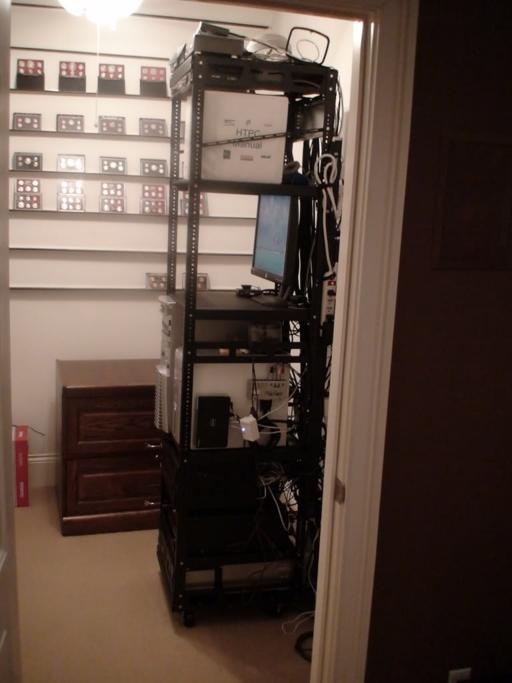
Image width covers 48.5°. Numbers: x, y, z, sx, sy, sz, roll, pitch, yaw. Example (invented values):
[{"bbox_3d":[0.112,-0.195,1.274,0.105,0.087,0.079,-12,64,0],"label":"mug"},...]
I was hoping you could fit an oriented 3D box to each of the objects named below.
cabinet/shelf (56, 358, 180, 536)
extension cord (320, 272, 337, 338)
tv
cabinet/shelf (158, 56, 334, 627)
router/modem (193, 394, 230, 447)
[{"bbox_3d":[-0.751,0.524,3.159,0.588,1.132,0.684,0,2,-11],"label":"cabinet/shelf"},{"bbox_3d":[0.272,-0.120,2.097,0.044,0.277,0.078,5,20,11],"label":"extension cord"},{"bbox_3d":[0.069,-0.407,2.223,0.031,0.351,0.387,3,11,-20],"label":"tv"},{"bbox_3d":[-0.023,0.018,2.213,0.722,2.161,0.594,0,5,-12],"label":"cabinet/shelf"},{"bbox_3d":[-0.154,0.323,2.076,0.120,0.082,0.225,1,48,-2],"label":"router/modem"}]
